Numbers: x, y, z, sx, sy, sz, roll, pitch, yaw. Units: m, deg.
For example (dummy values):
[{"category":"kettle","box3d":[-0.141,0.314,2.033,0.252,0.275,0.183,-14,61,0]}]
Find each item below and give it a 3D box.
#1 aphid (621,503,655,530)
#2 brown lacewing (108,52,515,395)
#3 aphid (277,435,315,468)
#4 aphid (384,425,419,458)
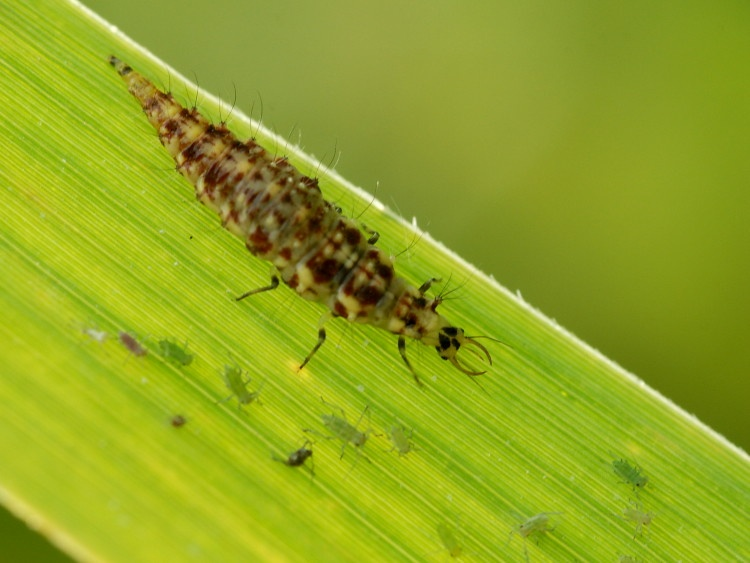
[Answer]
[{"category":"aphid","box3d":[2.329,2.066,8.043,0.215,0.198,0.059,28,-8,-14]},{"category":"brown lacewing","box3d":[-0.676,-0.489,7.896,3.602,0.834,0.459,37,-34,-5]},{"category":"aphid","box3d":[-0.665,1.483,7.866,0.239,0.266,0.094,31,-33,-1]},{"category":"aphid","box3d":[0.230,1.402,8.004,0.072,0.239,0.272,-17,-100,62]}]
